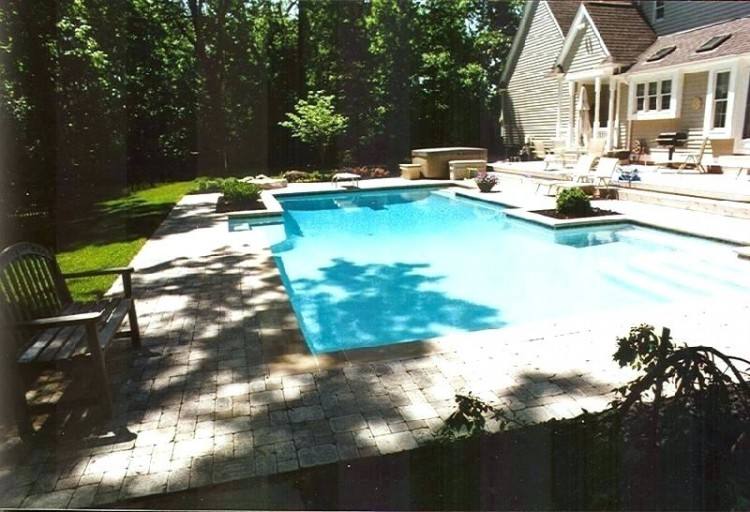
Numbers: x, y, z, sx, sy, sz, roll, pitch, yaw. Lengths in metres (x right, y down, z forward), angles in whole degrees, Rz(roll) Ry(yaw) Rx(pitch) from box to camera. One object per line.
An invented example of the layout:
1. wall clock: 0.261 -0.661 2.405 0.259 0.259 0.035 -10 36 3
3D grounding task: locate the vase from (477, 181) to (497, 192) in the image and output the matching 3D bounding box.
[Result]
1. vase: 4.027 -2.471 17.397 0.614 0.322 0.688 2 12 12
